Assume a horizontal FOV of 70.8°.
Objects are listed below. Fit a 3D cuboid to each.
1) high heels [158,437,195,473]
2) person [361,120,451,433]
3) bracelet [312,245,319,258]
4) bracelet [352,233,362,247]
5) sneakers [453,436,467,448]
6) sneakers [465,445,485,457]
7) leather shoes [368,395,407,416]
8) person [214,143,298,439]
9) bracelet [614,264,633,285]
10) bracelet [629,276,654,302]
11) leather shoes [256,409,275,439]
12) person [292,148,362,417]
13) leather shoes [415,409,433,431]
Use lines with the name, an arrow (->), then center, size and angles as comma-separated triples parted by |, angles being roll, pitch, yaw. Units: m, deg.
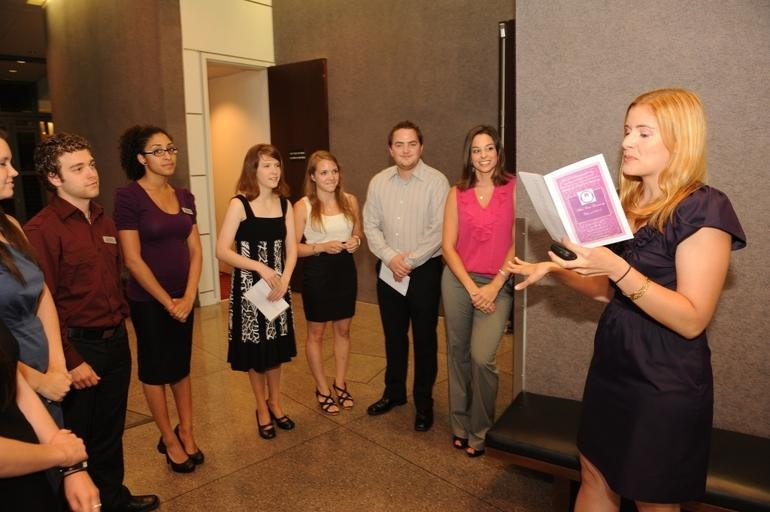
high heels -> -1.385, 1.358, 3.711 | 0.340, 0.145, 0.116 | 23, 20, 22
person -> 0.176, 0.121, 4.186 | 0.741, 2.262, 0.659 | 6, 17, 38
bracelet -> -0.524, -0.046, 4.260 | 0.022, 0.080, 0.062 | 5, 5, 1
bracelet -> -0.214, -0.138, 4.400 | 0.075, 0.092, 0.036 | 6, -17, -25
sneakers -> 0.539, 1.319, 3.861 | 0.075, 0.051, 0.195 | -1, -4, 8
sneakers -> 0.628, 1.357, 3.794 | 0.094, 0.063, 0.183 | 0, -3, 28
leather shoes -> 0.017, 1.185, 4.406 | 0.326, 0.141, 0.115 | -4, 7, -36
person -> -0.877, 0.259, 4.009 | 0.642, 2.122, 0.463 | -10, 14, -22
bracelet -> 1.004, 0.080, 2.325 | 0.020, 0.072, 0.075 | 38, -20, -6
bracelet -> 1.075, 0.142, 2.314 | 0.078, 0.095, 0.039 | -1, 14, 16
leather shoes -> -0.876, 1.262, 4.112 | 0.096, 0.067, 0.250 | -1, 19, -23
person -> -0.399, 0.198, 4.354 | 0.506, 2.041, 0.540 | -5, 13, -3
leather shoes -> 0.299, 1.231, 4.106 | 0.133, 0.117, 0.166 | -1, 13, 12
